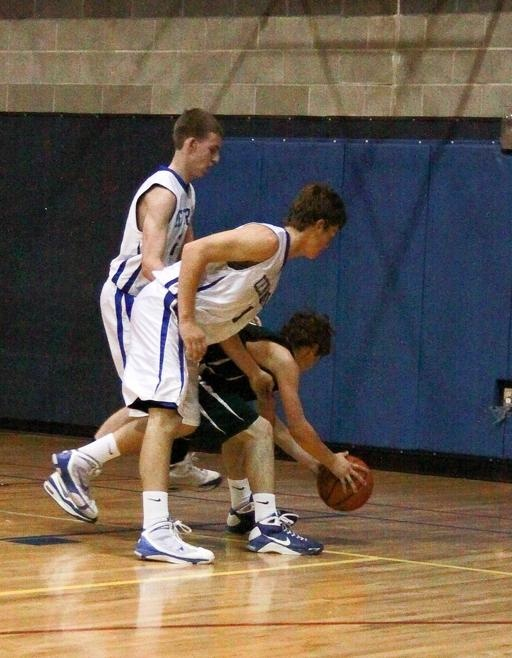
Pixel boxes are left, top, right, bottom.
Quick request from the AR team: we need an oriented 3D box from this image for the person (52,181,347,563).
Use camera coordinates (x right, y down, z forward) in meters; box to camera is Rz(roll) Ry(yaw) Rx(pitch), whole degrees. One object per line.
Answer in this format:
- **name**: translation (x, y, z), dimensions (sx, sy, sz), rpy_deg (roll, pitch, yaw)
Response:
- **person**: translation (-0.122, 0.135, 2.472), dimensions (0.617, 1.116, 0.601), rpy_deg (-3, 17, -41)

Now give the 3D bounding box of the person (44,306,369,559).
- **person**: translation (-0.142, 0.279, 2.735), dimensions (1.010, 0.637, 0.320), rpy_deg (1, -15, -2)

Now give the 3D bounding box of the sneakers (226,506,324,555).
- **sneakers**: translation (0.019, 0.584, 2.579), dimensions (0.370, 0.144, 0.110), rpy_deg (5, -8, -4)

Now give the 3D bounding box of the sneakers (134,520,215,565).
- **sneakers**: translation (-0.217, 0.554, 2.318), dimensions (0.266, 0.123, 0.084), rpy_deg (3, -12, 0)
